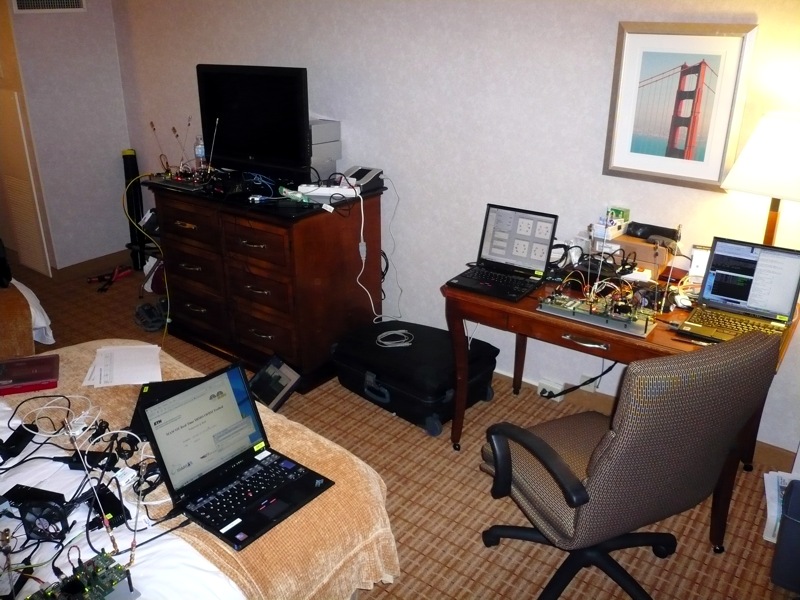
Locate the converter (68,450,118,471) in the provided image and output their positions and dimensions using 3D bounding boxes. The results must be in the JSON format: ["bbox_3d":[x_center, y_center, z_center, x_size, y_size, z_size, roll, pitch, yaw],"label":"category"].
[{"bbox_3d":[-1.021,0.536,2.006,0.087,0.020,0.088,8,9,31],"label":"converter"}]

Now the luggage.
[{"bbox_3d":[0.073,0.348,3.575,0.834,0.405,0.693,19,37,36],"label":"luggage"}]

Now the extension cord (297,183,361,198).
[{"bbox_3d":[-0.412,-0.639,3.518,0.364,0.048,0.192,2,22,-6],"label":"extension cord"}]

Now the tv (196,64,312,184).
[{"bbox_3d":[-0.865,-1.066,3.642,0.733,0.530,0.083,18,32,30],"label":"tv"}]

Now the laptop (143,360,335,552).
[{"bbox_3d":[-0.610,0.547,2.066,0.371,0.557,0.503,-22,3,44],"label":"laptop"}]

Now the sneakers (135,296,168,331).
[{"bbox_3d":[-1.783,0.085,4.362,0.222,0.112,0.311,-12,44,-14],"label":"sneakers"}]

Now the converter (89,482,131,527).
[{"bbox_3d":[-0.906,0.634,1.868,0.170,0.054,0.093,23,29,39],"label":"converter"}]

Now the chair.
[{"bbox_3d":[0.943,0.700,2.386,0.702,0.974,0.760,-13,27,-25],"label":"chair"}]

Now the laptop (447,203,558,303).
[{"bbox_3d":[0.544,-0.245,3.006,0.498,0.519,0.373,18,23,37],"label":"laptop"}]

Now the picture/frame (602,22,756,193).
[{"bbox_3d":[1.342,-0.933,2.846,0.738,0.910,0.063,16,29,31],"label":"picture/frame"}]

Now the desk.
[{"bbox_3d":[1.070,0.720,3.210,1.833,1.254,1.144,18,32,34],"label":"desk"}]
